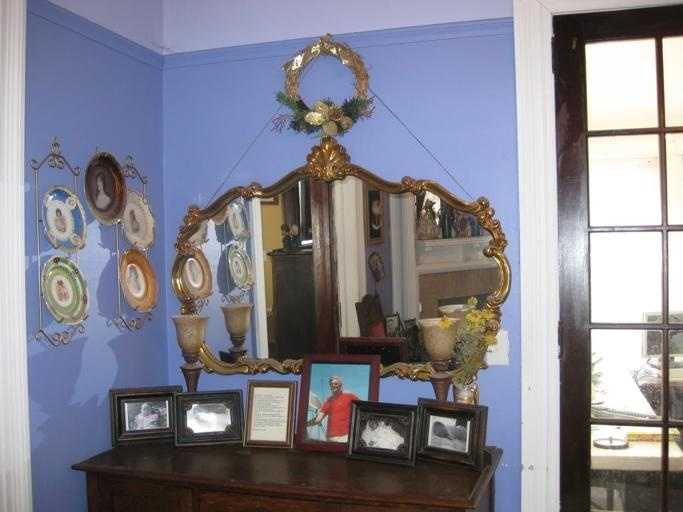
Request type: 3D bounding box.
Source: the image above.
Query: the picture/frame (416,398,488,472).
[{"bbox_3d":[0.485,0.803,3.057,0.243,0.239,0.028,2,-4,22],"label":"picture/frame"}]

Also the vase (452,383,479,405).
[{"bbox_3d":[0.580,0.639,3.223,0.105,0.117,0.079,0,0,27],"label":"vase"}]

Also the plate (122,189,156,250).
[{"bbox_3d":[-1.052,-0.186,3.572,0.031,0.254,0.213,-2,9,22],"label":"plate"}]

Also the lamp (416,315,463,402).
[{"bbox_3d":[0.461,0.478,3.279,0.194,0.381,0.132,0,-2,9],"label":"lamp"}]

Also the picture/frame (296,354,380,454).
[{"bbox_3d":[-0.007,0.713,3.257,0.385,0.503,0.038,0,-14,13],"label":"picture/frame"}]

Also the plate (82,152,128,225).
[{"bbox_3d":[-1.171,-0.327,3.384,0.036,0.390,0.310,-1,5,17],"label":"plate"}]

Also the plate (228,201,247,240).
[{"bbox_3d":[-0.539,-0.179,3.571,0.031,0.164,0.155,-9,-32,-26],"label":"plate"}]

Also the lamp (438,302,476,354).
[{"bbox_3d":[0.557,0.334,3.303,0.192,0.254,0.175,-2,3,-38],"label":"lamp"}]

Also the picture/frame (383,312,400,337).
[{"bbox_3d":[0.252,0.335,3.374,0.075,0.114,0.014,-1,-2,23],"label":"picture/frame"}]

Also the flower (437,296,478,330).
[{"bbox_3d":[0.555,0.268,3.306,0.164,0.131,0.115,-6,-3,-26],"label":"flower"}]

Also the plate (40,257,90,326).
[{"bbox_3d":[-1.280,0.164,3.190,0.040,0.270,0.230,-5,8,20],"label":"plate"}]

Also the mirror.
[{"bbox_3d":[0.061,0.032,3.432,1.095,0.955,0.028,0,-1,12],"label":"mirror"}]

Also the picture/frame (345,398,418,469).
[{"bbox_3d":[0.181,0.814,3.124,0.229,0.228,0.025,2,-12,12],"label":"picture/frame"}]

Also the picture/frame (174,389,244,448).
[{"bbox_3d":[-0.657,0.803,3.370,0.228,0.212,0.026,1,-14,-8],"label":"picture/frame"}]

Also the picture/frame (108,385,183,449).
[{"bbox_3d":[-0.960,0.795,3.365,0.262,0.261,0.021,2,-4,-16],"label":"picture/frame"}]

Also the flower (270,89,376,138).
[{"bbox_3d":[-0.111,-0.706,3.469,0.530,0.230,0.139,-1,-2,14],"label":"flower"}]

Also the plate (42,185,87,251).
[{"bbox_3d":[-1.286,-0.177,3.202,0.038,0.256,0.219,-1,9,27],"label":"plate"}]
